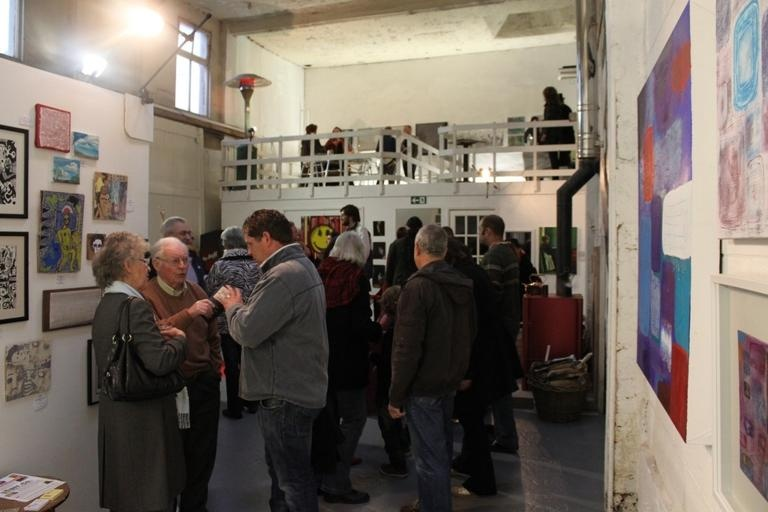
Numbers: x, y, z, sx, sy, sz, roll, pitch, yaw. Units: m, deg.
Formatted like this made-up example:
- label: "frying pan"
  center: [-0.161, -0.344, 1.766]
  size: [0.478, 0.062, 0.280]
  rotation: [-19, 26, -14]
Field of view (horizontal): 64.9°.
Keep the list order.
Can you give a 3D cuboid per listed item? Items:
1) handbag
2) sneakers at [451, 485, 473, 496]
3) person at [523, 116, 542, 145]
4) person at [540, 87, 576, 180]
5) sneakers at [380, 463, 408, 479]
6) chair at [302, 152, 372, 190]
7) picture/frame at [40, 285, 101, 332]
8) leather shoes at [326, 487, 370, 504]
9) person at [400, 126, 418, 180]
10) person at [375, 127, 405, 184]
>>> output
- label: "handbag"
  center: [-1.478, 0.672, 3.839]
  size: [0.434, 0.453, 0.221]
  rotation: [5, -1, -38]
- label: "sneakers"
  center: [0.637, 1.910, 4.946]
  size: [0.112, 0.040, 0.085]
  rotation: [1, -3, 40]
- label: "person"
  center: [2.784, -2.275, 11.172]
  size: [0.301, 0.443, 1.104]
  rotation: [-1, 4, 15]
- label: "person"
  center: [3.134, -2.285, 10.773]
  size: [0.551, 1.497, 0.873]
  rotation: [-1, 3, 18]
- label: "sneakers"
  center: [0.089, 1.854, 5.254]
  size: [0.233, 0.107, 0.097]
  rotation: [8, 2, 26]
- label: "chair"
  center: [-0.956, -1.696, 12.439]
  size: [1.152, 0.768, 2.045]
  rotation: [-2, 4, -6]
- label: "picture/frame"
  center: [-2.337, 0.382, 4.448]
  size: [0.040, 0.244, 0.392]
  rotation: [3, 3, 20]
- label: "leather shoes"
  center: [-0.281, 1.910, 4.814]
  size: [0.340, 0.145, 0.130]
  rotation: [-1, -5, -2]
- label: "person"
  center: [0.502, -2.273, 13.634]
  size: [0.438, 1.411, 0.361]
  rotation: [-13, 37, -18]
- label: "person"
  center: [0.020, -1.965, 12.619]
  size: [0.490, 1.514, 0.459]
  rotation: [-11, 30, -26]
